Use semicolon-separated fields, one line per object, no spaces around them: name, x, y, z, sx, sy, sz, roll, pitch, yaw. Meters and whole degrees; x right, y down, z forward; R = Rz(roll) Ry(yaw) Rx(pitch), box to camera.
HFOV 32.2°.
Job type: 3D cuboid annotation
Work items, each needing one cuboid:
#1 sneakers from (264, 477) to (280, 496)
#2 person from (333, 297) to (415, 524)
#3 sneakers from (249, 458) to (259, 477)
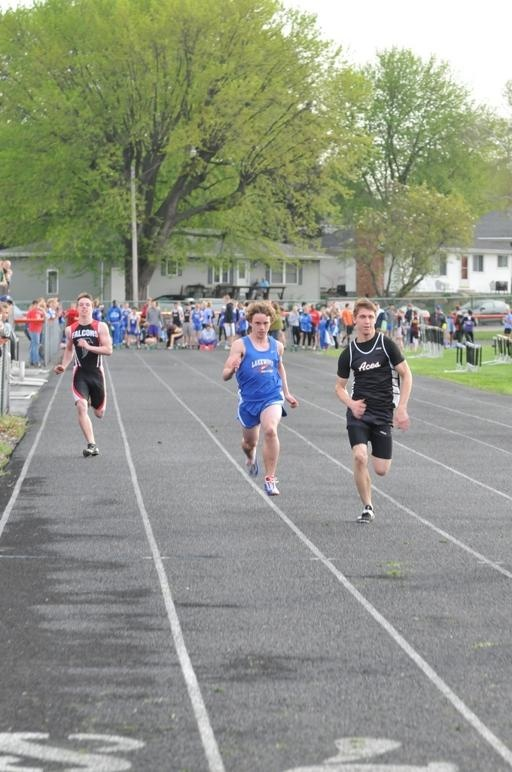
sneakers;0.160;0.939;8.358;0.097;0.118;0.271;-1;2;-11
person;0.948;0.233;7.187;0.580;1.861;0.680;1;2;6
sneakers;-0.027;0.823;8.841;0.070;0.195;0.081;-10;-6;38
